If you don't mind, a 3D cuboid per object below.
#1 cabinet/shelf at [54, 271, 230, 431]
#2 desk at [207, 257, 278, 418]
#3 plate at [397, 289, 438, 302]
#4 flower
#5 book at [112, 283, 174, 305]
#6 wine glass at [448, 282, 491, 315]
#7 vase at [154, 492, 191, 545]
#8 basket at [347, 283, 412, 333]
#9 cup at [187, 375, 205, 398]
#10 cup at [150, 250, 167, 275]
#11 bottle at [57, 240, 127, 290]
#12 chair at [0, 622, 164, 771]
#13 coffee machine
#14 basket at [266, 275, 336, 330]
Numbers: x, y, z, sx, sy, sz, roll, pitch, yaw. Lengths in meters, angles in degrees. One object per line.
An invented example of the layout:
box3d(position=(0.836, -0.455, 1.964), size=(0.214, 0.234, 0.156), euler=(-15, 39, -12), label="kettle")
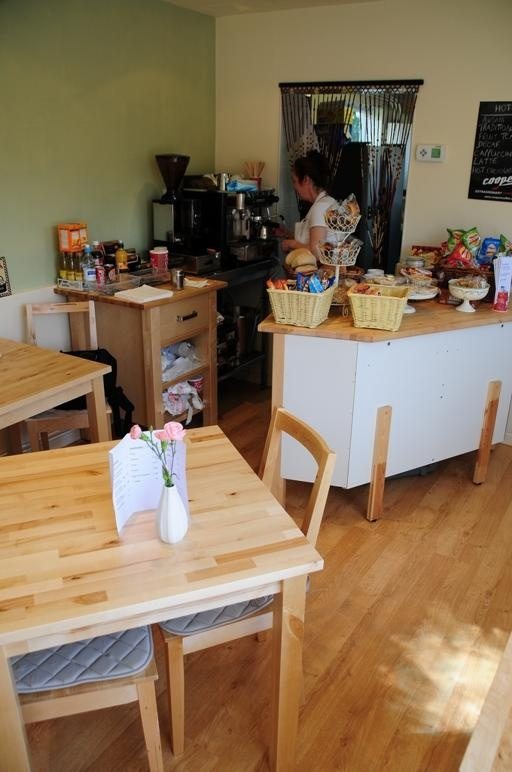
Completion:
box3d(position=(-0.572, -0.369, 3.573), size=(0.801, 1.282, 0.978), euler=(15, 30, 26), label="cabinet/shelf")
box3d(position=(-0.101, -0.346, 3.645), size=(0.334, 0.755, 0.803), euler=(18, 38, 29), label="desk")
box3d(position=(0.825, -0.459, 2.774), size=(0.141, 0.031, 0.145), euler=(1, 15, 11), label="plate")
box3d(position=(-0.211, 0.148, 1.173), size=(0.101, 0.150, 0.099), euler=(10, 21, 28), label="flower")
box3d(position=(-0.595, -0.481, 2.906), size=(0.166, 0.038, 0.176), euler=(15, 23, 33), label="book")
box3d(position=(1.019, -0.443, 2.743), size=(0.177, 0.136, 0.210), euler=(-17, 24, -38), label="wine glass")
box3d(position=(-0.168, 0.254, 1.127), size=(0.068, 0.133, 0.058), euler=(-9, 20, -22), label="vase")
box3d(position=(0.522, -0.319, 2.384), size=(0.257, 0.171, 0.210), euler=(4, 20, 12), label="basket")
box3d(position=(-0.357, -0.017, 3.458), size=(0.120, 0.123, 0.109), euler=(-1, 23, 0), label="cup")
box3d(position=(-0.570, -0.722, 3.249), size=(0.111, 0.163, 0.106), euler=(1, 27, -1), label="cup")
box3d(position=(-0.865, -0.660, 3.028), size=(0.202, 0.227, 0.397), euler=(16, 25, 41), label="bottle")
box3d(position=(-0.336, 0.723, 1.145), size=(0.285, 0.284, 0.264), euler=(-12, 33, -17), label="chair")
box3d(position=(-0.322, -1.071, 3.782), size=(0.745, 0.927, 0.952), euler=(13, 26, 29), label="coffee machine")
box3d(position=(0.193, -0.375, 2.402), size=(0.270, 0.215, 0.253), euler=(1, 19, 7), label="basket")
